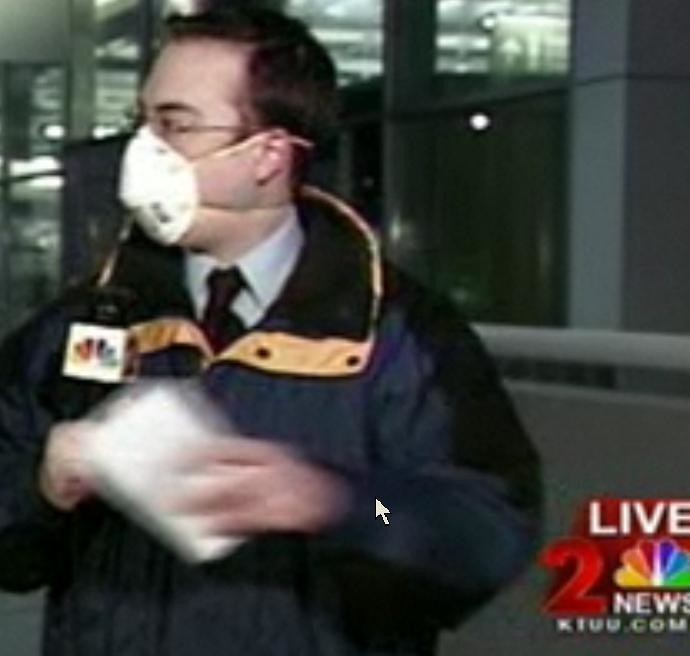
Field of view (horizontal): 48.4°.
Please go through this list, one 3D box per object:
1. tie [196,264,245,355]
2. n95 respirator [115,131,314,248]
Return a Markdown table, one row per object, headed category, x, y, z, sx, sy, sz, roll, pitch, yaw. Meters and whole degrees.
| category | x | y | z | sx | sy | sz | roll | pitch | yaw |
| --- | --- | --- | --- | --- | --- | --- | --- | --- | --- |
| tie | -0.213 | -0.032 | 1.258 | 0.085 | 0.134 | 0.037 | 2 | 13 | 2 |
| n95 respirator | -0.207 | -0.223 | 1.210 | 0.211 | 0.127 | 0.200 | -25 | 24 | -20 |
